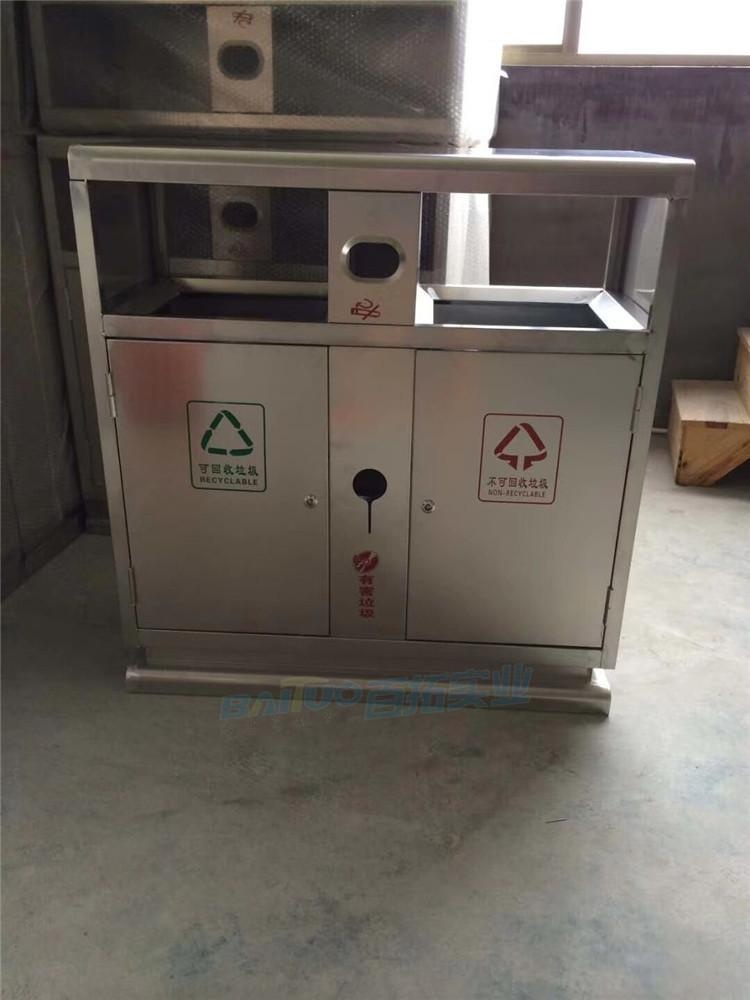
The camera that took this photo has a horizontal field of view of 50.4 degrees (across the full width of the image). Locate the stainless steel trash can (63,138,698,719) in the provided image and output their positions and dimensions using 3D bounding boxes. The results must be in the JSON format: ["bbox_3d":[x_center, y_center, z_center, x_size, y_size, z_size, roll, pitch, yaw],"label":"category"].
[{"bbox_3d":[0.022,-0.147,1.983,1.348,1.296,0.445,2,13,9],"label":"stainless steel trash can"}]
